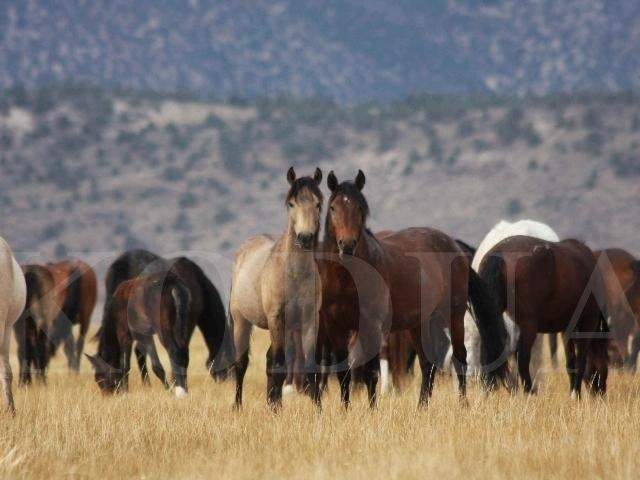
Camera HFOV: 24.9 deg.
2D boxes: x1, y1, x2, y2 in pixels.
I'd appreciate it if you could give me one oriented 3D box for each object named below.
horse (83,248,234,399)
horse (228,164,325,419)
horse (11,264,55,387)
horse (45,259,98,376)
[{"bbox_3d":[-6.197,3.321,57.471,5.005,5.539,1.829,1,-6,-10],"label":"horse"},{"bbox_3d":[-0.862,1.614,56.507,3.264,10.873,4.939,-2,4,-19],"label":"horse"},{"bbox_3d":[-11.589,3.333,59.101,1.429,5.047,1.378,-5,4,-20],"label":"horse"},{"bbox_3d":[-10.803,2.962,61.667,1.569,4.409,6.188,-4,3,-20],"label":"horse"}]
